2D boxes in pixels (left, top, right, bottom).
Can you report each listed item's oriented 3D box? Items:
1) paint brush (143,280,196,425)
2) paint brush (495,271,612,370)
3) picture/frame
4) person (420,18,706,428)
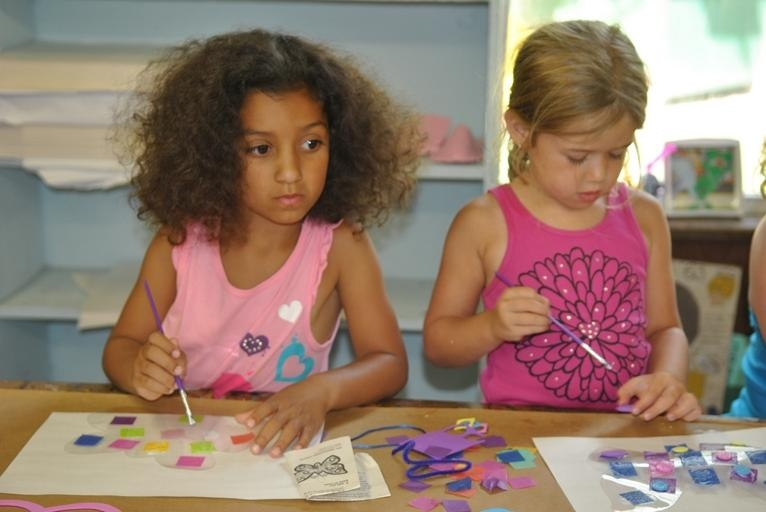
[{"bbox_3d":[-0.458,0.203,1.599,0.033,0.293,0.014,-17,-20,-4],"label":"paint brush"},{"bbox_3d":[0.385,0.147,1.667,0.033,0.311,0.024,-48,9,2],"label":"paint brush"},{"bbox_3d":[1.023,-0.237,2.398,0.304,0.305,0.042,0,-9,3],"label":"picture/frame"},{"bbox_3d":[0.412,0.079,1.734,0.666,1.130,0.620,0,13,6],"label":"person"}]
